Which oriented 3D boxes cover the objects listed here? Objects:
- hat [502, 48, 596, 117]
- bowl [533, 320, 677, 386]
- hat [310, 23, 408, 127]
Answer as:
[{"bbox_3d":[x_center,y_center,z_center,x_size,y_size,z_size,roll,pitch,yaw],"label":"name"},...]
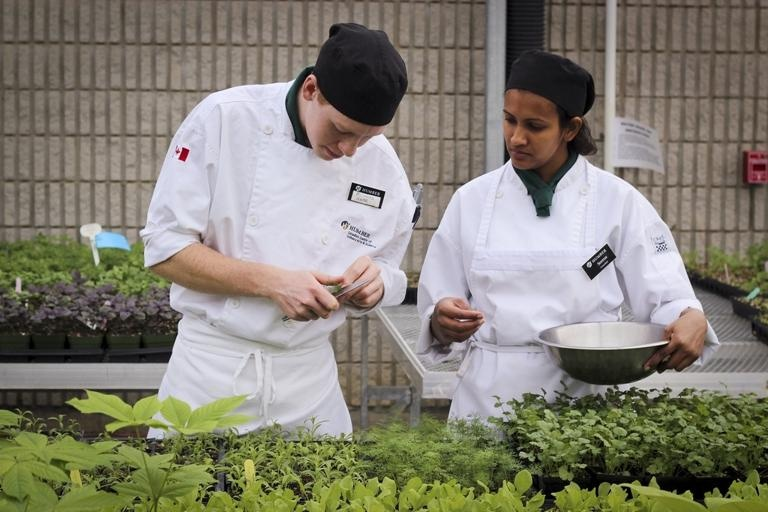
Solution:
[{"bbox_3d":[0.979,-0.980,8.433,0.453,0.249,0.350,24,10,-23],"label":"hat"},{"bbox_3d":[1.280,0.608,8.340,0.650,0.238,0.658,1,-1,0],"label":"bowl"},{"bbox_3d":[-0.113,-1.081,8.418,0.490,0.395,0.618,-21,1,2],"label":"hat"}]
